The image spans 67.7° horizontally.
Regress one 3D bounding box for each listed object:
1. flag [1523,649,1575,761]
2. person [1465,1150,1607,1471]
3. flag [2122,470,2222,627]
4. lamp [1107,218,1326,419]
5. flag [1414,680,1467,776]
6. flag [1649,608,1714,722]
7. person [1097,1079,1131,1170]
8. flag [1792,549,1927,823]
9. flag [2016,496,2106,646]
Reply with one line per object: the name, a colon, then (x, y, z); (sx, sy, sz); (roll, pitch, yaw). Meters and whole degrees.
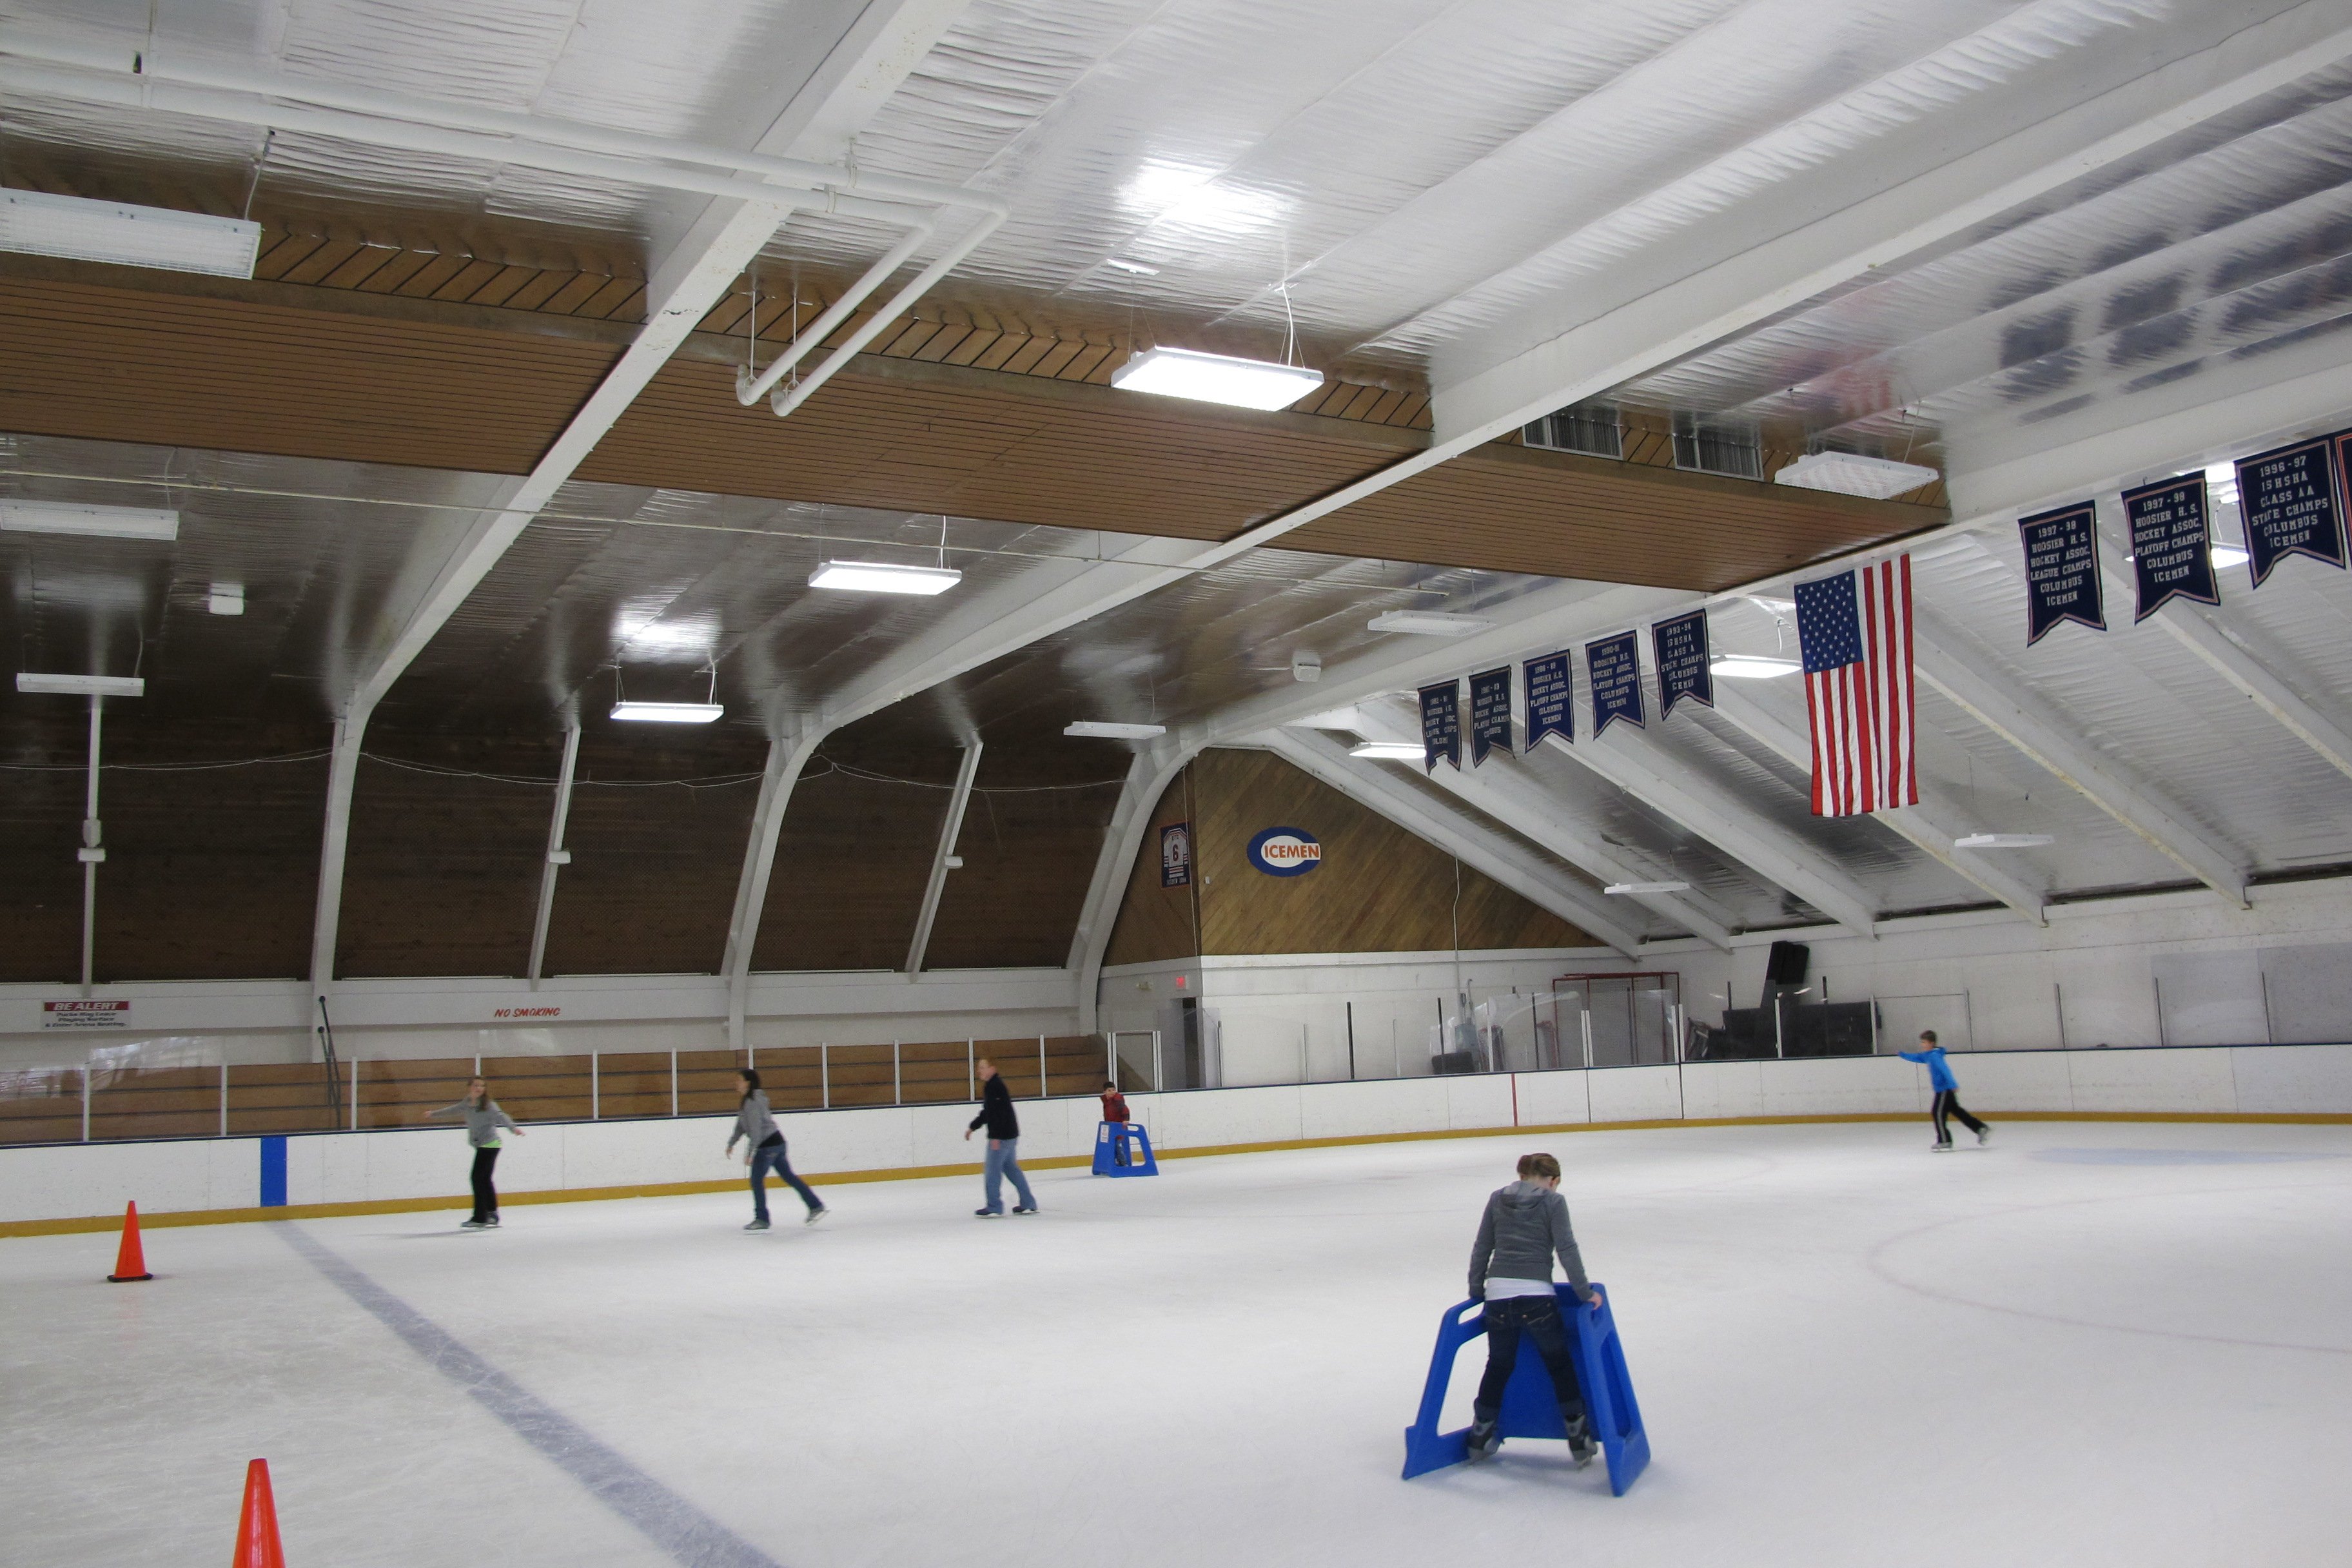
flag: (4.591, -1.089, 21.577); (0.764, 1.123, 0.356); (-13, -10, 38)
person: (1.919, 2.878, 9.635); (0.843, 1.639, 0.491); (-11, -9, 22)
flag: (8.890, -2.170, 15.647); (0.793, 1.330, 0.977); (-11, -9, 27)
lamp: (0.282, -3.625, 13.405); (1.750, 0.847, 0.807); (5, -5, -24)
flag: (3.510, -0.872, 23.091); (0.506, 1.091, 0.557); (-8, -8, -1)
flag: (5.821, -1.448, 20.012); (0.522, 1.073, 0.943); (-7, -8, -4)
person: (-0.955, 5.086, 25.724); (0.567, 1.138, 0.601); (-9, -8, 7)
flag: (7.108, -1.057, 18.127); (0.647, 2.607, 1.248); (-2, -10, -34)
flag: (8.413, -2.026, 16.611); (0.775, 1.276, 0.975); (-11, -9, 23)
